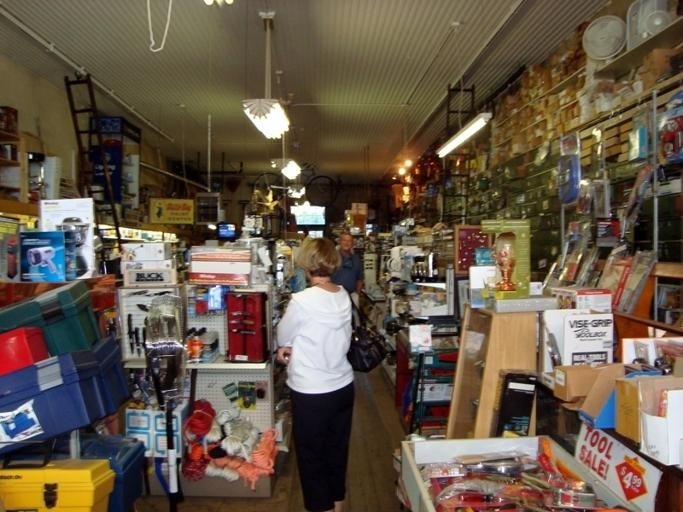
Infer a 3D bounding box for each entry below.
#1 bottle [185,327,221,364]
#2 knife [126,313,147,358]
[{"bbox_3d":[-1.105,0.699,4.235,0.304,0.199,0.349,0,1,-3],"label":"bottle"},{"bbox_3d":[-1.628,0.637,4.186,0.249,0.303,0.089,-3,-12,-2],"label":"knife"}]
